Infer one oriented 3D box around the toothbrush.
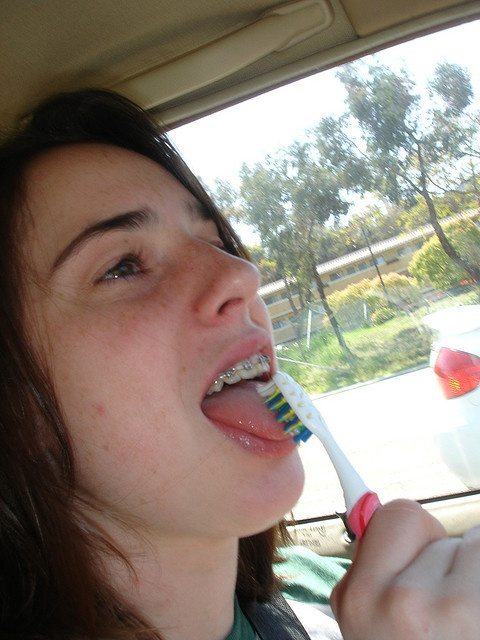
[{"bbox_3d":[0.156,0.250,0.859,0.047,0.361,0.077,-41,-18,29],"label":"toothbrush"}]
